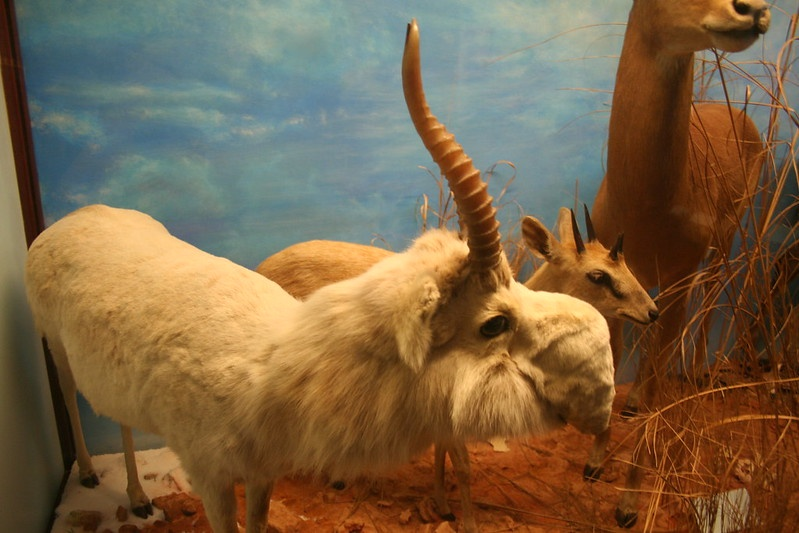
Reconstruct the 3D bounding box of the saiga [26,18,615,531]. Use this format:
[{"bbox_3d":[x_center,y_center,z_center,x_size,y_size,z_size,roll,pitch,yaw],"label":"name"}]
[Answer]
[{"bbox_3d":[-0.629,0.130,4.792,3.580,2.851,1.126,3,21,25],"label":"saiga"}]
